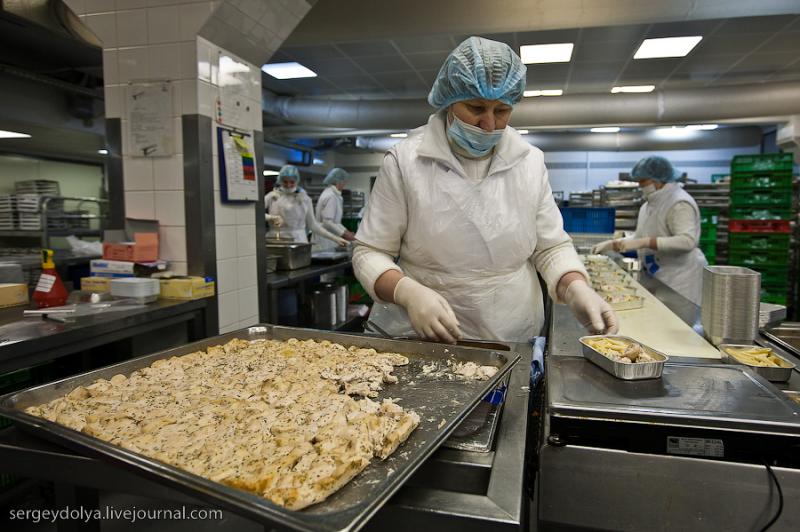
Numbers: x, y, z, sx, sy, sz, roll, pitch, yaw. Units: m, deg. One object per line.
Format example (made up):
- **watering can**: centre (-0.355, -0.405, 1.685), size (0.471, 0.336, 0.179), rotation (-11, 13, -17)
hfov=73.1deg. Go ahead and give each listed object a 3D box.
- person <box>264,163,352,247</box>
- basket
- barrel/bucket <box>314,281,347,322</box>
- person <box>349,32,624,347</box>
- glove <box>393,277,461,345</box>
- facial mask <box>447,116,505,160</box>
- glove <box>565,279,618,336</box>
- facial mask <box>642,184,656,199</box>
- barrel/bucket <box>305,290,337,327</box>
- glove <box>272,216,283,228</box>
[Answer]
- **person**: centre (-1.426, -0.826, 7.172), size (0.635, 0.999, 0.627), rotation (-5, 6, -18)
- **basket**: centre (4.432, -0.434, 6.661), size (0.628, 1.840, 0.593), rotation (0, 7, 28)
- **barrel/bucket**: centre (-0.594, 0.334, 4.848), size (0.196, 0.312, 0.362), rotation (3, -5, -21)
- **person**: centre (0.283, -0.303, 2.242), size (0.980, 1.327, 0.623), rotation (-4, 6, -6)
- **glove**: centre (0.097, 0.170, 2.097), size (0.104, 0.244, 0.275), rotation (-9, 9, -44)
- **facial mask**: centre (0.315, -0.552, 2.295), size (0.230, 0.175, 0.192), rotation (-2, 6, 4)
- **glove**: centre (0.755, 0.150, 2.130), size (0.137, 0.188, 0.245), rotation (-3, 6, -5)
- **facial mask**: centre (2.417, -0.728, 5.228), size (0.104, 0.062, 0.108), rotation (20, 30, 28)
- **barrel/bucket**: centre (-0.621, 0.370, 4.719), size (0.261, 0.283, 0.258), rotation (1, 1, 0)
- **glove**: centre (-1.213, -0.435, 5.287), size (0.109, 0.089, 0.181), rotation (11, 7, -23)
